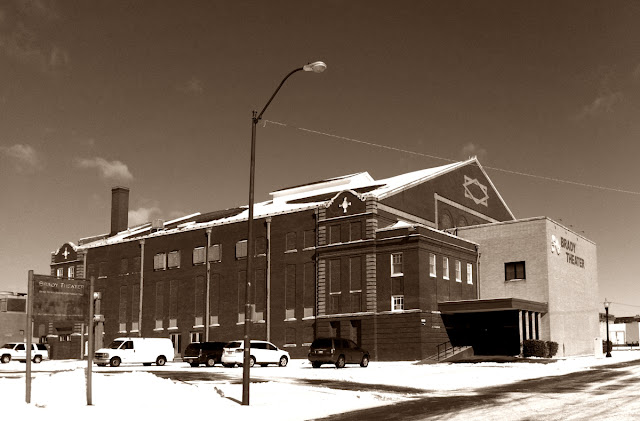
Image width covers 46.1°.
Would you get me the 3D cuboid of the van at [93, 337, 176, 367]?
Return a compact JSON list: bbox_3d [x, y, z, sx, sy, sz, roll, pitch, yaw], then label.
[{"bbox_3d":[-15.560,11.849,63.082,5.418,2.090,2.929,10,-16,-36],"label":"van"}]
